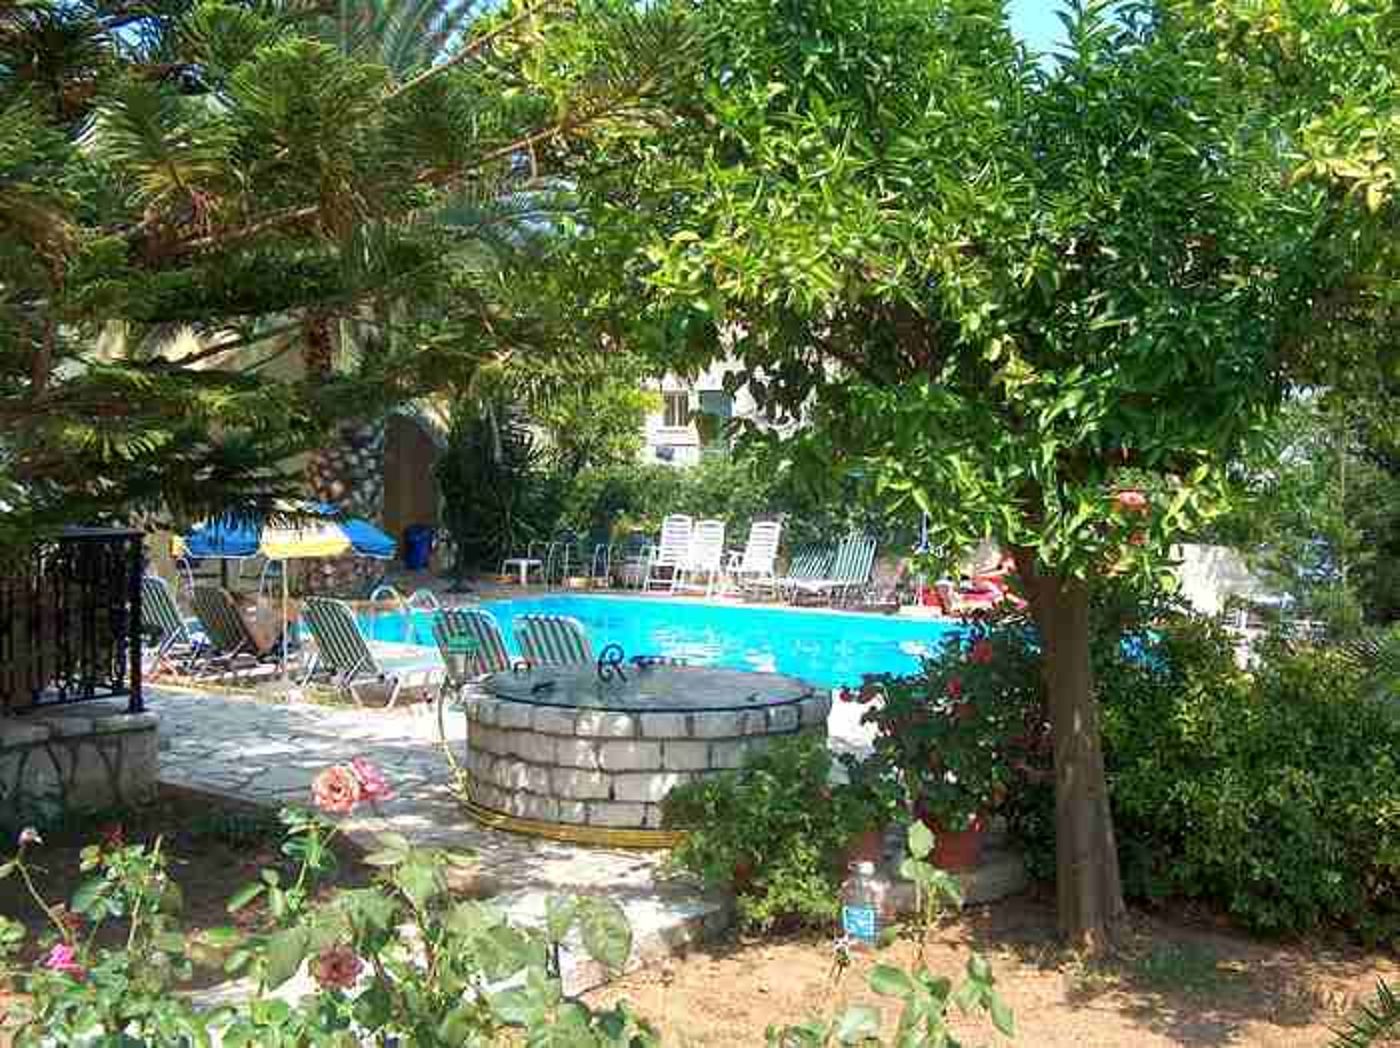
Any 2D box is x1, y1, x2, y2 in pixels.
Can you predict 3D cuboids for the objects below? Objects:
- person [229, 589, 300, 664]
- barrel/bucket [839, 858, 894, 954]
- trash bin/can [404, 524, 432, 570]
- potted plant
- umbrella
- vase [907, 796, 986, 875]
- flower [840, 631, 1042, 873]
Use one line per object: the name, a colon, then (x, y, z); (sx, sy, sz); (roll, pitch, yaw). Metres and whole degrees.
person: (-4.909, 1.172, 12.985); (0.815, 0.924, 0.709); (-7, 10, -40)
barrel/bucket: (0.762, 1.750, 5.309); (0.242, 0.355, 0.246); (0, 1, 0)
trash bin/can: (-6.056, 0.487, 24.795); (0.581, 0.990, 0.711); (1, 5, -19)
potted plant: (0.406, 1.595, 5.904); (1.201, 0.920, 0.741); (3, 5, 11)
umbrella: (-4.682, 0.640, 13.892); (2.103, 1.717, 2.156); (3, -2, -33)
vase: (1.373, 1.670, 6.415); (0.418, 0.420, 0.377); (-5, 13, 12)
flower: (1.160, 1.197, 6.542); (0.986, 0.655, 1.156); (-16, -44, 29)
